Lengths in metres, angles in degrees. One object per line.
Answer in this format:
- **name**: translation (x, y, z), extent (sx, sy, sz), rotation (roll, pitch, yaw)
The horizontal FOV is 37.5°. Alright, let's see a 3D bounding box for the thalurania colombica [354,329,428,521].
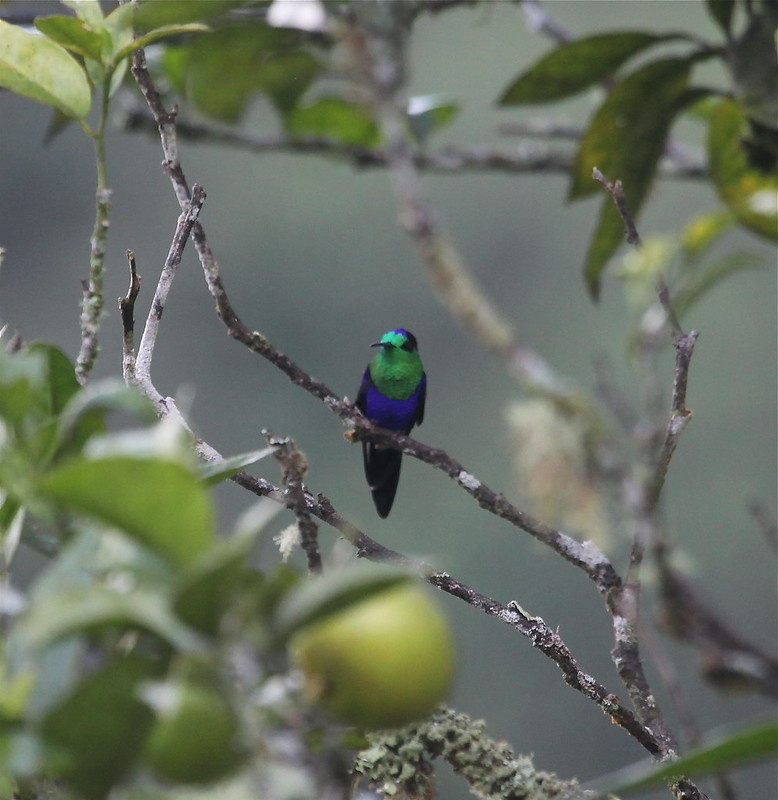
- **thalurania colombica**: translation (0.002, -0.009, 1.288), extent (0.074, 0.218, 0.150), rotation (0, 94, -3)

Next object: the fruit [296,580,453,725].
- **fruit**: translation (-0.012, 0.140, 0.636), extent (0.058, 0.068, 0.058), rotation (-44, 18, -17)
